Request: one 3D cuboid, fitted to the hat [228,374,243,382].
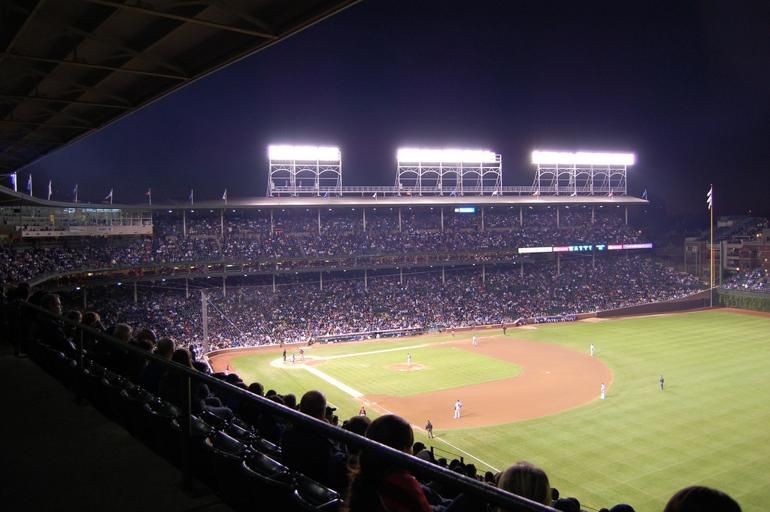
[{"bbox_3d":[-4.669,3.825,21.453,0.434,0.182,0.306,14,-3,-30],"label":"hat"}]
